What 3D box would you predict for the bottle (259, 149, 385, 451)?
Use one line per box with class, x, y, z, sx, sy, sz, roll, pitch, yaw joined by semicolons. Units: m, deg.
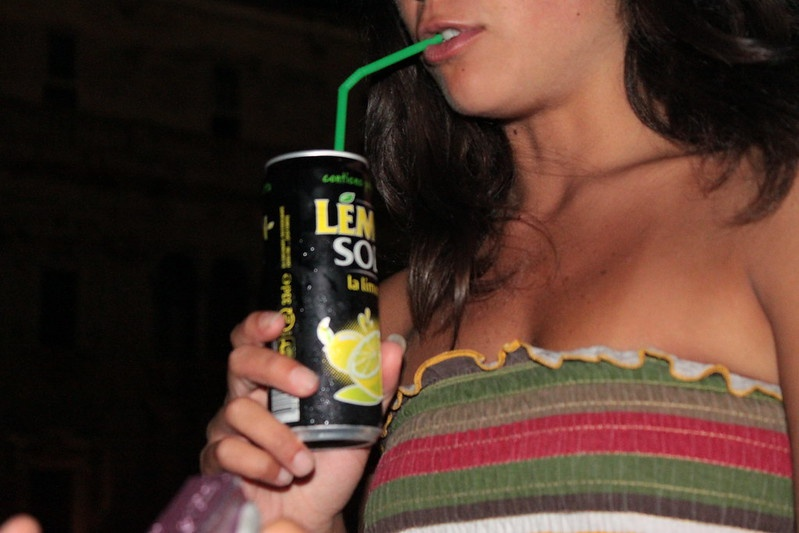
bottle;-0.220;0.087;2.336;0.340;0.796;0.295;-8;15;4
